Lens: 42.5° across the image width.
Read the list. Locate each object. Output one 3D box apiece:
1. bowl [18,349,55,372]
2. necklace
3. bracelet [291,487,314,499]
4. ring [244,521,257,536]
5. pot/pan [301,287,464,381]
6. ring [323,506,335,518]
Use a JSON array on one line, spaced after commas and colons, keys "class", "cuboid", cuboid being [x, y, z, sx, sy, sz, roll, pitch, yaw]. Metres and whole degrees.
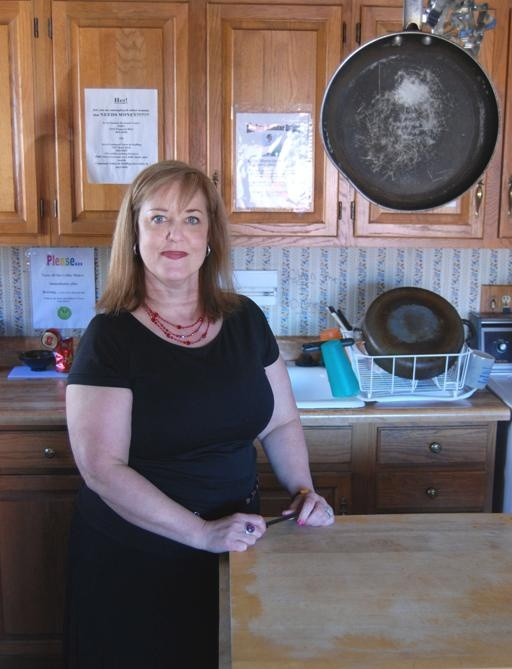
[{"class": "bowl", "cuboid": [-0.774, 0.093, 2.345, 0.115, 0.059, 0.141, -5, 9, -13]}, {"class": "necklace", "cuboid": [-0.171, -0.027, 1.384, 0.140, 0.018, 0.137, 47, 29, 21]}, {"class": "bracelet", "cuboid": [0.093, 0.311, 1.315, 0.022, 0.015, 0.035, -10, 2, 7]}, {"class": "ring", "cuboid": [-0.011, 0.323, 1.102, 0.017, 0.014, 0.014, 10, 40, -10]}, {"class": "pot/pan", "cuboid": [0.390, 0.006, 2.035, 0.496, 0.247, 0.160, -1, -32, -9]}, {"class": "ring", "cuboid": [0.133, 0.321, 1.197, 0.007, 0.015, 0.023, -34, 10, -16]}]
